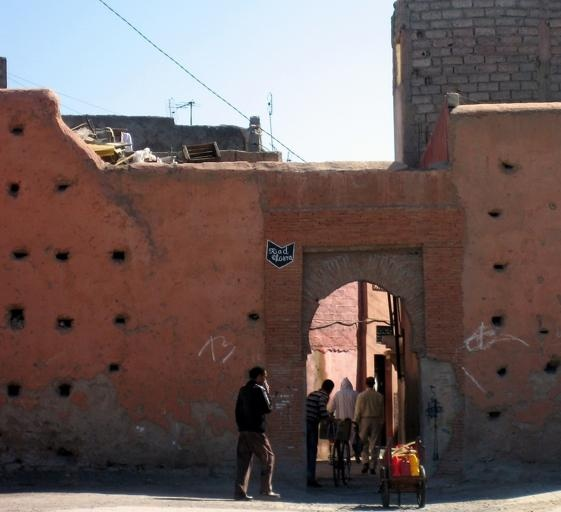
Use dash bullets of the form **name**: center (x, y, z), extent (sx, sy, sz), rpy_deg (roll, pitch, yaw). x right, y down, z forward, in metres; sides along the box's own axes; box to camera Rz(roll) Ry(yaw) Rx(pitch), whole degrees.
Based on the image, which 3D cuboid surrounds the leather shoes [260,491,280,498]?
- **leather shoes**: center (-0.088, 2.781, 17.632), extent (0.175, 0.072, 0.097), rpy_deg (4, -7, 1)

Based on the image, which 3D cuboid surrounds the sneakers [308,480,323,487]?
- **sneakers**: center (0.430, 2.858, 18.973), extent (0.197, 0.085, 0.068), rpy_deg (2, -5, -1)

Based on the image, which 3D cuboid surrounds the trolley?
- **trolley**: center (1.385, 2.524, 17.548), extent (0.497, 0.614, 0.790), rpy_deg (1, -14, -3)

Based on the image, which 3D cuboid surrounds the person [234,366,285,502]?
- **person**: center (-0.247, 2.155, 17.878), extent (0.526, 1.535, 1.205), rpy_deg (2, -16, 0)

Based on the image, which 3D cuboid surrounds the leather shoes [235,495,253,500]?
- **leather shoes**: center (-0.401, 2.767, 17.383), extent (0.202, 0.088, 0.068), rpy_deg (-1, 2, -13)
